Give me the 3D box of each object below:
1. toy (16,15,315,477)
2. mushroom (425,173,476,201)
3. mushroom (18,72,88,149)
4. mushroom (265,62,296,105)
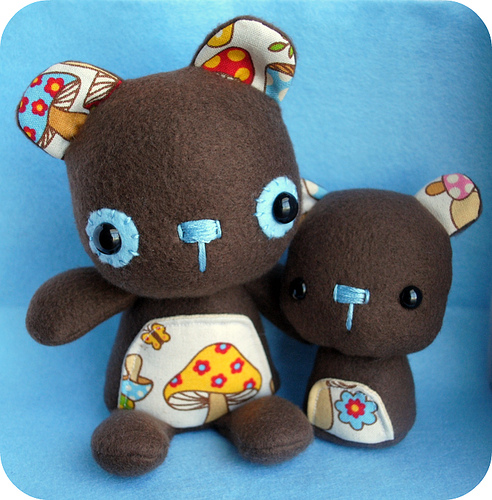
[{"bbox_3d":[-0.102,-0.012,0.951,0.442,0.610,0.269,4,19,-5],"label":"toy"},{"bbox_3d":[0.308,-0.094,1.037,0.069,0.037,0.012,-10,-27,11],"label":"mushroom"},{"bbox_3d":[-0.283,-0.183,0.984,0.061,0.134,0.171,2,4,-18],"label":"mushroom"},{"bbox_3d":[0.045,-0.237,0.967,0.016,0.040,0.041,9,47,-10],"label":"mushroom"}]
